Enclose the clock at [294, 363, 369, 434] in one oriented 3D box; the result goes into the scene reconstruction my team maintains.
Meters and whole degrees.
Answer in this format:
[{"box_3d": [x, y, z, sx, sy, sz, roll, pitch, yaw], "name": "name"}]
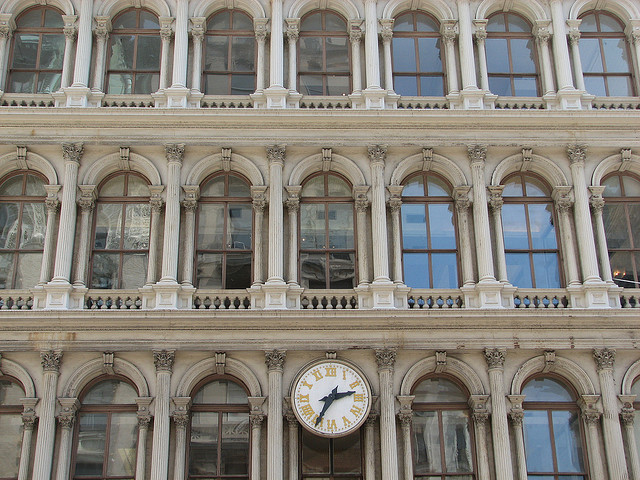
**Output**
[{"box_3d": [0.334, 5.074, 25.946, 2.283, 2.315, 0.276, 2, -28, -1], "name": "clock"}]
